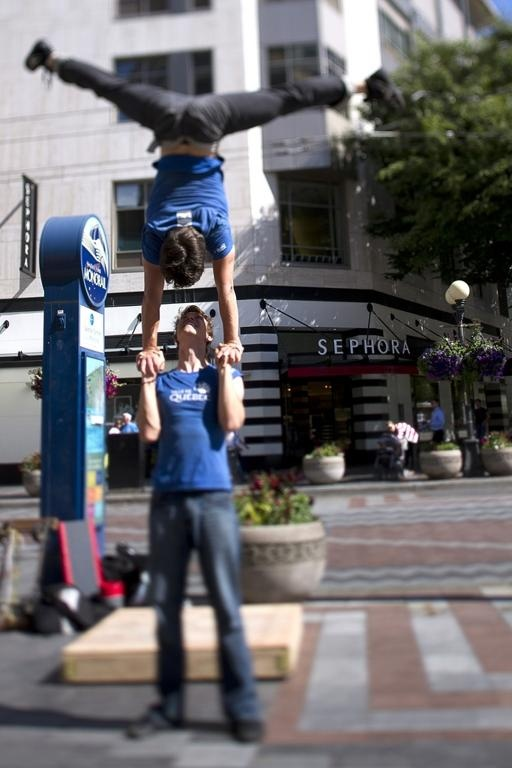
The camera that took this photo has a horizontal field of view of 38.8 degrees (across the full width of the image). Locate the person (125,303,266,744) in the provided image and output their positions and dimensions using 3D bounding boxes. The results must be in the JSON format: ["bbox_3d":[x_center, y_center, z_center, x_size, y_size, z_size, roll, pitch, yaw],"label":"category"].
[{"bbox_3d":[-0.286,0.671,3.104,0.523,1.687,0.284,-4,-1,3],"label":"person"}]

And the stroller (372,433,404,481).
[{"bbox_3d":[2.988,1.675,16.456,0.829,1.492,0.939,2,-7,2],"label":"stroller"}]

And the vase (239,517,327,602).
[{"bbox_3d":[0.215,1.341,5.131,0.558,0.373,0.556,0,-24,4],"label":"vase"}]

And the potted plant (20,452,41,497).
[{"bbox_3d":[-4.779,1.981,15.490,0.338,0.842,0.903,-4,0,-18],"label":"potted plant"}]

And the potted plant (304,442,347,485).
[{"bbox_3d":[1.425,1.708,15.519,0.834,0.571,0.812,-6,-7,39],"label":"potted plant"}]

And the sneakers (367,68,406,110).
[{"bbox_3d":[0.674,-1.548,3.889,0.233,0.158,0.106,20,-19,-42],"label":"sneakers"}]

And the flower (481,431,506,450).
[{"bbox_3d":[5.059,1.233,15.415,0.396,0.258,0.392,-15,16,-39],"label":"flower"}]

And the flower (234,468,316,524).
[{"bbox_3d":[0.115,0.829,5.239,0.342,0.251,0.430,-1,9,-8],"label":"flower"}]

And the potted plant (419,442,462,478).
[{"bbox_3d":[3.873,1.608,15.145,0.738,0.526,0.715,-1,-7,13],"label":"potted plant"}]

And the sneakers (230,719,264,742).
[{"bbox_3d":[-0.038,1.421,2.987,0.135,0.088,0.056,-4,0,-1],"label":"sneakers"}]
